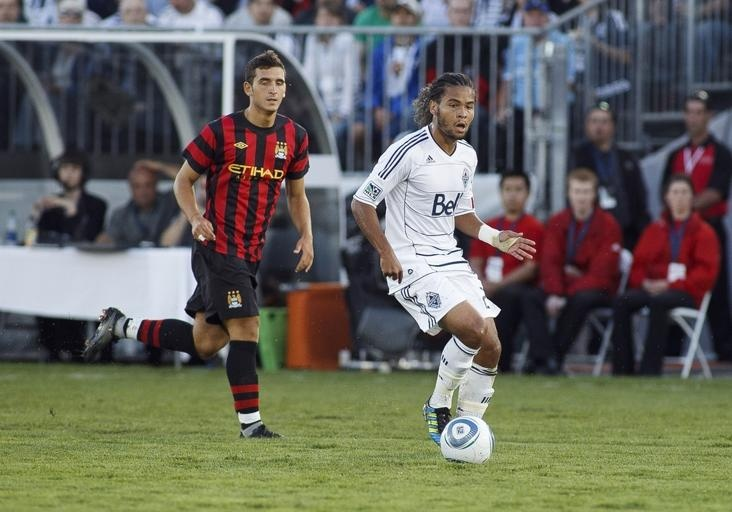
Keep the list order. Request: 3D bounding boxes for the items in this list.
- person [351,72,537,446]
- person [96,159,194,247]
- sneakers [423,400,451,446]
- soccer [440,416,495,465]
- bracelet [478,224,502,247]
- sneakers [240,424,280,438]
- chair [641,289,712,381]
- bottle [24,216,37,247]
[{"bbox_3d":[0.563,-0.003,10.894,1.181,2.810,0.583,1,1,5],"label":"person"},{"bbox_3d":[-2.349,-0.521,14.988,0.873,0.477,1.516,-5,32,-12],"label":"person"},{"bbox_3d":[0.562,1.264,10.859,0.133,0.391,0.159,-6,-15,-30],"label":"sneakers"},{"bbox_3d":[0.747,1.354,10.400,0.346,0.292,0.294,-7,-12,14],"label":"soccer"},{"bbox_3d":[0.973,-0.133,11.067,0.162,0.144,0.182,16,16,18],"label":"bracelet"},{"bbox_3d":[-0.814,1.332,10.958,0.323,0.152,0.115,0,1,1],"label":"sneakers"},{"bbox_3d":[3.122,0.808,14.045,0.692,1.242,0.638,0,-3,6],"label":"chair"},{"bbox_3d":[-3.569,-0.264,15.084,0.133,0.317,0.509,1,1,-13],"label":"bottle"}]
